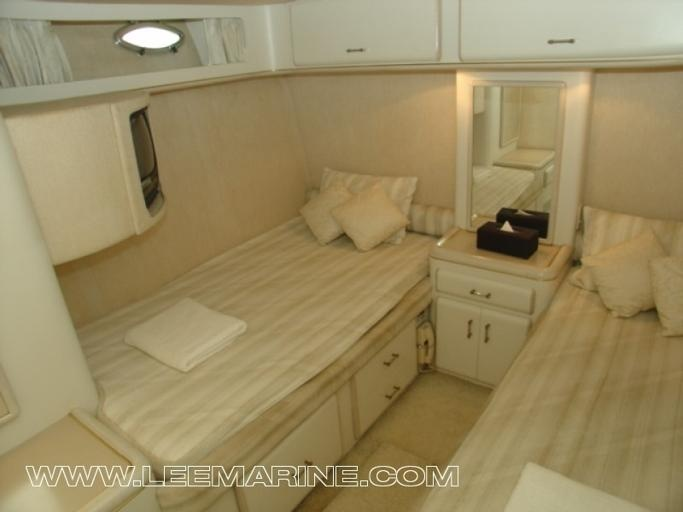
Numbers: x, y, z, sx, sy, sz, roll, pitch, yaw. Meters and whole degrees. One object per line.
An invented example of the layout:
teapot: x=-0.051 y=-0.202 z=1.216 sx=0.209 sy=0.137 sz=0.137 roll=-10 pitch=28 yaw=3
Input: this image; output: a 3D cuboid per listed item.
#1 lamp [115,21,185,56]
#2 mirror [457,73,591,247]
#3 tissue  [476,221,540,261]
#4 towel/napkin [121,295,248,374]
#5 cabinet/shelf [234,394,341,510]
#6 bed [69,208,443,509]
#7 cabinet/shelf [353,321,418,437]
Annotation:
lamp: x=-1.104 y=-1.245 z=2.791 sx=0.084 sy=0.187 sz=0.366 roll=18 pitch=30 yaw=35
mirror: x=1.161 y=-0.611 z=3.015 sx=0.813 sy=1.249 sz=0.384 roll=8 pitch=30 yaw=27
tissue : x=1.020 y=-0.086 z=3.013 sx=0.410 sy=0.210 sz=0.219 roll=16 pitch=35 yaw=36
towel/napkin: x=-0.866 y=0.410 z=2.705 sx=0.537 sy=0.088 sz=0.436 roll=17 pitch=38 yaw=29
cabinet/shelf: x=-0.285 y=0.957 z=2.418 sx=0.299 sy=0.362 sz=0.542 roll=9 pitch=28 yaw=30
bed: x=-0.290 y=0.389 z=2.825 sx=1.110 sy=0.498 sz=1.980 roll=21 pitch=38 yaw=33
cabinet/shelf: x=0.253 y=0.747 z=2.954 sx=0.351 sy=0.375 sz=0.561 roll=8 pitch=31 yaw=32
